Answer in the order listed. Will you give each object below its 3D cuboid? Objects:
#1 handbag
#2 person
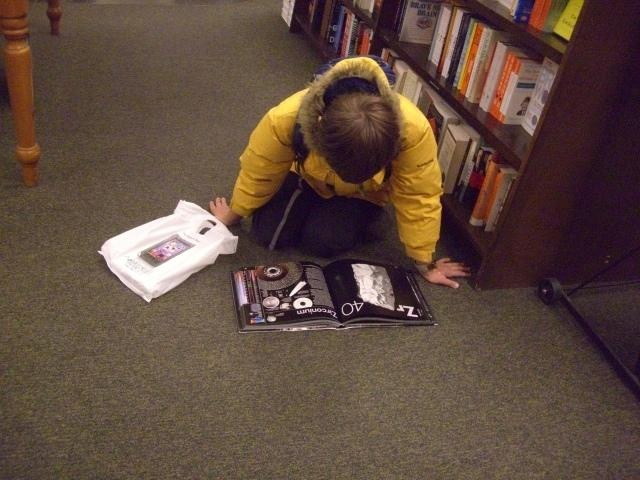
[{"bbox_3d":[-0.500,0.034,1.627,0.312,0.093,0.361,36,48,24],"label":"handbag"},{"bbox_3d":[0.084,-0.222,1.640,0.902,0.789,0.506,14,64,7],"label":"person"}]
